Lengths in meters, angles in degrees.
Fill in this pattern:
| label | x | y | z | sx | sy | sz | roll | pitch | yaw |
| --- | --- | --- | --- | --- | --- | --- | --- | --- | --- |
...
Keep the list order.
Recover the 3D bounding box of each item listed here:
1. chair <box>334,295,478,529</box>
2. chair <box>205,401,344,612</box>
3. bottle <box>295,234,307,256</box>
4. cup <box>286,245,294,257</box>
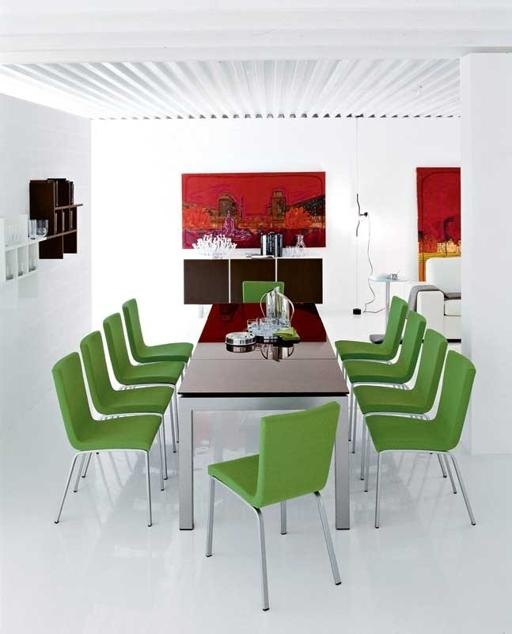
| label | x | y | z | sx | sy | sz | roll | pitch | yaw |
| --- | --- | --- | --- | --- | --- | --- | --- | --- | --- |
| chair | 0.835 | 0.533 | 2.735 | 0.612 | 0.870 | 0.982 | 1 | 5 | 11 |
| chair | 0.062 | 0.642 | 1.926 | 0.390 | 0.823 | 0.437 | -10 | 17 | -38 |
| bottle | 0.754 | -1.224 | 8.661 | 0.182 | 0.384 | 0.168 | 0 | 5 | 0 |
| cup | 0.569 | -1.121 | 8.614 | 0.129 | 0.221 | 0.147 | 0 | 0 | -11 |
